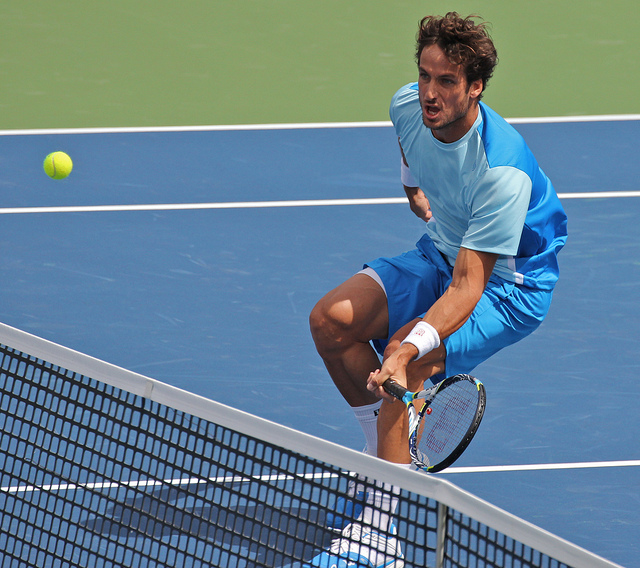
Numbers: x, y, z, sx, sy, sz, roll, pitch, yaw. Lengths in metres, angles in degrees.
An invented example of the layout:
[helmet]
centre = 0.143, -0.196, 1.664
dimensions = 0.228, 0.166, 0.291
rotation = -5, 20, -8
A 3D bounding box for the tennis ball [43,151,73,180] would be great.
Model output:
[tennis ball]
centre = -2.088, -0.949, 10.175
dimensions = 0.233, 0.209, 0.214
rotation = 5, 26, -2

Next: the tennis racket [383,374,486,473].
[tennis racket]
centre = 0.609, 0.765, 7.062
dimensions = 0.775, 0.061, 0.329
rotation = 18, 73, 55
